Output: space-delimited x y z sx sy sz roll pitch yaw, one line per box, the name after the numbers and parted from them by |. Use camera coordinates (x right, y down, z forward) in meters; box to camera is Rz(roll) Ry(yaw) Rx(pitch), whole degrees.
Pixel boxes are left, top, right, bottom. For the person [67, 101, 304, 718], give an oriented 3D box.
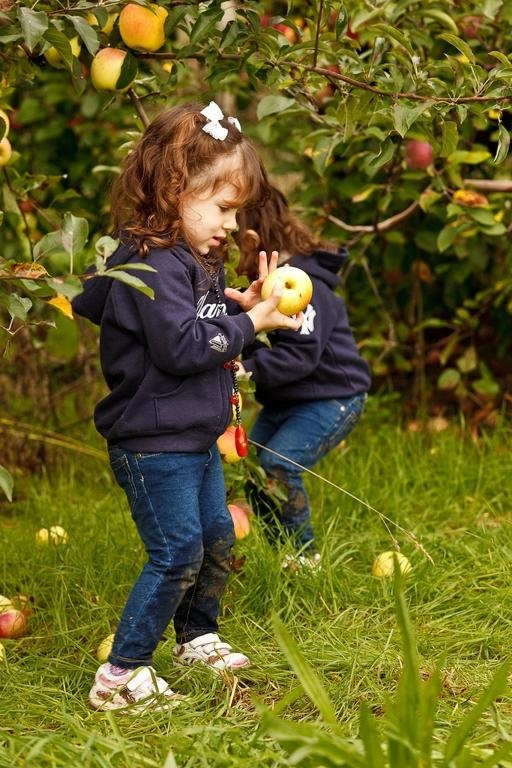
-0.134 0.036 1.483 0.479 1.137 0.409 -1 -1 -31 | person

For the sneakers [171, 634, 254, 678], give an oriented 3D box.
-0.100 0.559 1.478 0.180 0.072 0.062 1 -1 20 | sneakers

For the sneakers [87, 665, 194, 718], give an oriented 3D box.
-0.218 0.579 1.337 0.201 0.078 0.078 4 3 13 | sneakers
